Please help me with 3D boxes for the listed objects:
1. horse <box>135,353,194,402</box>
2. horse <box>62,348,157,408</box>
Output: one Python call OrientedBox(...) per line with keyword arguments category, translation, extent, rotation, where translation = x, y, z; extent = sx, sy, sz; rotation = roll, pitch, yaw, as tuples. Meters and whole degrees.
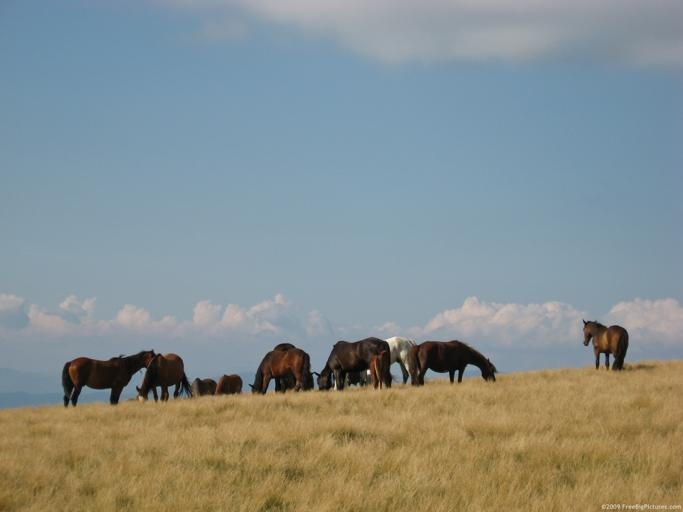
OrientedBox(category="horse", translation=(-6.434, 4.483, 42.581), extent=(0.780, 1.955, 3.264), rotation=(1, 0, 20))
OrientedBox(category="horse", translation=(-8.330, 4.215, 41.239), extent=(2.774, 1.927, 1.302), rotation=(3, -10, -14))
